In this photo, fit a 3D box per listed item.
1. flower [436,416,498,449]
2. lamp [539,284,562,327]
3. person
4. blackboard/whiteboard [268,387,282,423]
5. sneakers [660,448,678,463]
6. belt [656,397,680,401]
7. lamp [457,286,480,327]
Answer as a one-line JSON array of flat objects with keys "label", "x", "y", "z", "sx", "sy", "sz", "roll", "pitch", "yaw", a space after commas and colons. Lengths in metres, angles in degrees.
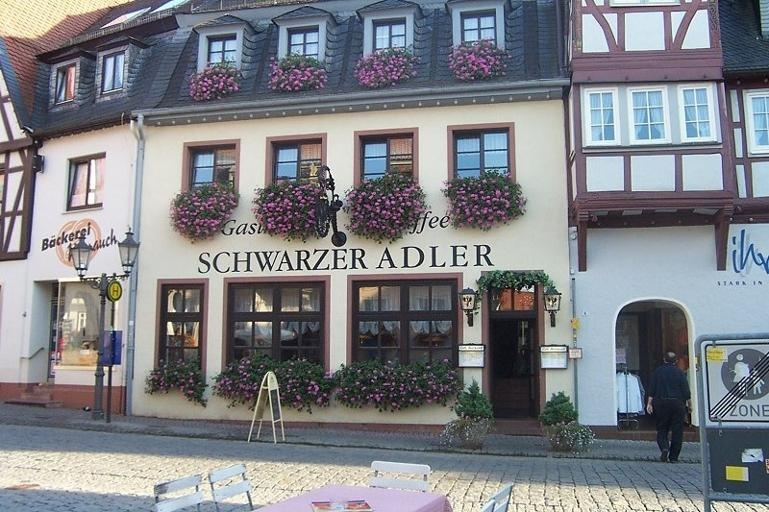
[{"label": "flower", "x": 1.676, "y": 3.841, "z": 17.110, "sx": 0.802, "sy": 0.410, "sz": 0.786, "roll": -1, "pitch": -6, "yaw": -43}, {"label": "lamp", "x": 3.953, "y": 1.158, "z": 18.484, "sx": 0.402, "sy": 0.924, "sz": 0.327, "roll": -1, "pitch": -9, "yaw": 12}, {"label": "person", "x": 6.038, "y": 3.157, "z": 16.800, "sx": 0.857, "sy": 2.240, "sz": 1.373, "roll": -2, "pitch": -9, "yaw": 19}, {"label": "blackboard/whiteboard", "x": -2.501, "y": 3.347, "z": 17.790, "sx": 0.269, "sy": 0.712, "sz": 0.493, "roll": 2, "pitch": -9, "yaw": -8}, {"label": "sneakers", "x": 5.813, "y": 4.052, "z": 16.052, "sx": 0.163, "sy": 0.201, "sz": 0.472, "roll": 2, "pitch": -28, "yaw": 5}, {"label": "belt", "x": 5.861, "y": 2.929, "z": 16.238, "sx": 0.367, "sy": 0.064, "sz": 0.063, "roll": -3, "pitch": -9, "yaw": 21}, {"label": "lamp", "x": 2.026, "y": 1.215, "z": 18.768, "sx": 0.504, "sy": 0.860, "sz": 0.376, "roll": 0, "pitch": -9, "yaw": 5}]
